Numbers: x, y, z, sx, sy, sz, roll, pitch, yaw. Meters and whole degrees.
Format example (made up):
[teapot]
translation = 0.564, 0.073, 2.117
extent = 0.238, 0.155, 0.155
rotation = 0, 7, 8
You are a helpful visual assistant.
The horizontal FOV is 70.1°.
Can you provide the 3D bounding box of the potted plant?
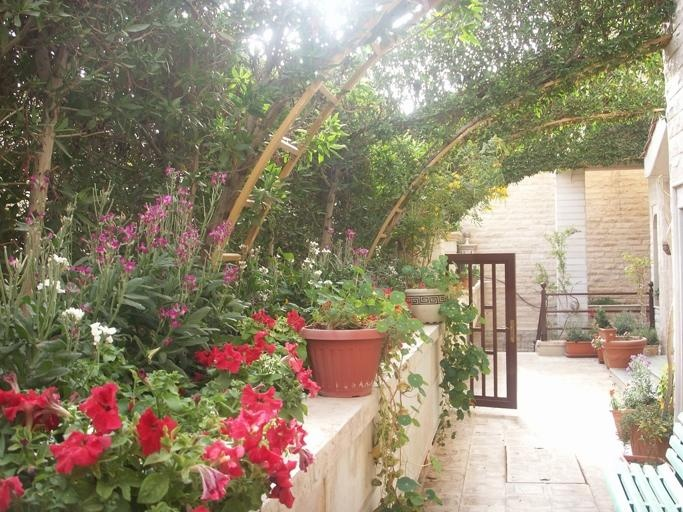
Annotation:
[potted plant]
translation = 4.955, 0.595, 9.715
extent = 2.031, 2.583, 3.516
rotation = -2, -2, 24
